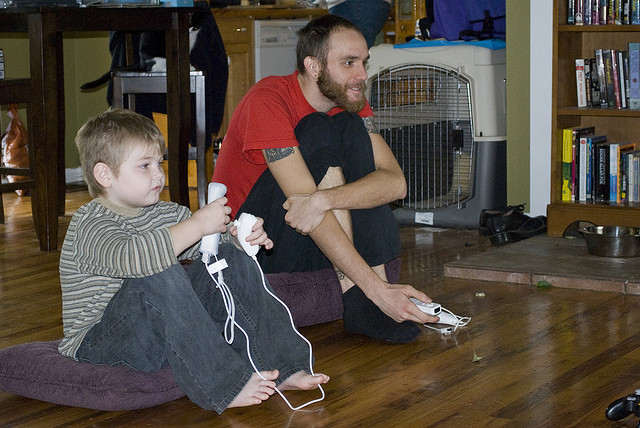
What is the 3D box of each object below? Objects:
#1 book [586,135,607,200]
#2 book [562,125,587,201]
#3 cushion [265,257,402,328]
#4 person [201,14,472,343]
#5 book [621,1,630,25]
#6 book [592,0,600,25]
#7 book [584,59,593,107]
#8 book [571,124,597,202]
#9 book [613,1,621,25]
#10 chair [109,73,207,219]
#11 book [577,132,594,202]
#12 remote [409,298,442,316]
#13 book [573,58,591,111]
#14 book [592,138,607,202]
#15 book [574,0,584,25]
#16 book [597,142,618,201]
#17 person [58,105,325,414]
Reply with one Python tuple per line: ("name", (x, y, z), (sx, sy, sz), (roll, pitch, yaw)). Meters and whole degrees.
("book", (1.480, -0.233, 2.845), (0.048, 0.351, 0.311), (0, 5, 20))
("book", (1.379, -0.269, 2.868), (0.062, 0.419, 0.377), (0, 3, 19))
("cushion", (-0.031, 0.270, 1.787), (0.274, 0.098, 0.266), (-4, -15, -25))
("person", (0.038, -0.167, 1.829), (0.530, 0.957, 1.086), (-17, 24, -35))
("book", (1.583, -1.038, 2.749), (0.046, 0.109, 0.013), (-1, 10, 1))
("book", (1.448, -1.049, 2.783), (0.038, 0.116, 0.030), (3, 11, 22))
("book", (1.463, -0.708, 2.881), (0.029, 0.249, 0.061), (-3, 11, -9))
("book", (1.421, -0.255, 2.860), (0.118, 0.342, 0.366), (-1, 8, 11))
("book", (1.542, -1.040, 2.755), (0.042, 0.111, 0.017), (4, 12, 25))
("chair", (-0.991, -0.491, 3.314), (0.438, 0.726, 0.384), (-1, 4, 16))
("book", (1.430, -0.247, 2.857), (0.045, 0.415, 0.339), (-1, 6, 20))
("remote", (0.352, 0.299, 1.762), (0.106, 0.037, 0.055), (14, 15, 22))
("book", (1.435, -0.709, 2.917), (0.060, 0.256, 0.259), (2, 9, 11))
("book", (1.494, -0.221, 2.841), (0.048, 0.349, 0.311), (0, 6, 19))
("book", (1.372, -1.060, 2.808), (0.051, 0.114, 0.018), (3, 11, 22))
("book", (1.535, -0.220, 2.829), (0.094, 0.246, 0.268), (0, 9, 17))
("person", (-0.342, 0.108, 1.368), (0.649, 0.742, 0.335), (4, 12, 27))
